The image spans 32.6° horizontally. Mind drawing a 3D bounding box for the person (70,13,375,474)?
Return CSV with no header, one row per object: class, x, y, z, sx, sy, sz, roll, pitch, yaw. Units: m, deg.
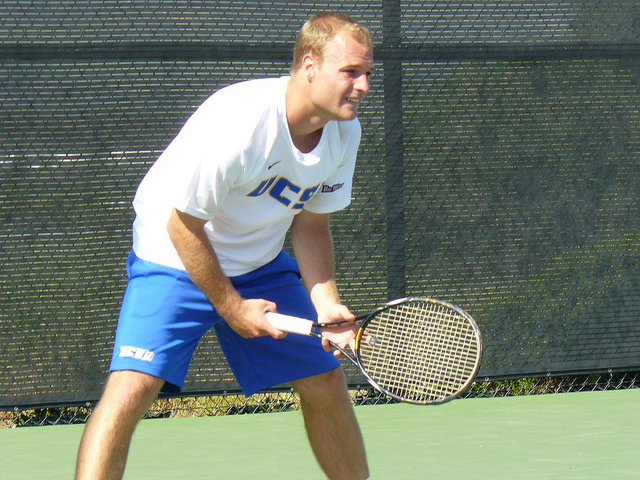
person,-0.385,0.057,4.961,1.262,1.908,1.143,-1,33,-4
